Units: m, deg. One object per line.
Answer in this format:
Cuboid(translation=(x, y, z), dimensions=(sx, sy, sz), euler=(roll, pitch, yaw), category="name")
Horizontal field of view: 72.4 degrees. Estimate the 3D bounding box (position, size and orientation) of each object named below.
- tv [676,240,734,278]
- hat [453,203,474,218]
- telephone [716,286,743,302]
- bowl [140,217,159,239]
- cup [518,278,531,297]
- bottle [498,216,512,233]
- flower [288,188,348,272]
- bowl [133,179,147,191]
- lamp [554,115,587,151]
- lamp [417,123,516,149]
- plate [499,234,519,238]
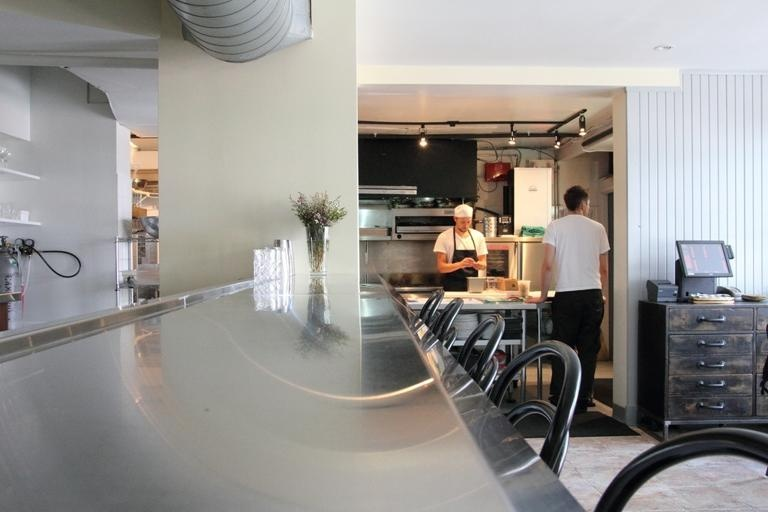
Cuboid(translation=(2.721, 0.023, 4.459), dimensions=(0.454, 0.301, 0.133), euler=(1, 10, -3), category="tv")
Cuboid(translation=(0.890, -0.503, 5.925), dimensions=(0.188, 0.132, 0.194), euler=(1, -1, 1), category="hat")
Cuboid(translation=(2.993, 0.314, 4.563), dimensions=(0.178, 0.075, 0.339), euler=(4, 11, 15), category="telephone")
Cuboid(translation=(-2.723, -0.347, 6.140), dimensions=(0.145, 0.236, 0.509), euler=(-8, 14, -42), category="bowl")
Cuboid(translation=(1.396, 0.312, 5.120), dimensions=(0.146, 0.163, 0.143), euler=(0, -4, 0), category="cup")
Cuboid(translation=(1.656, -0.438, 7.237), dimensions=(0.235, 0.246, 0.161), euler=(7, 11, 28), category="bottle")
Cuboid(translation=(-0.463, -0.193, 3.966), dimensions=(0.546, 0.718, 0.521), euler=(0, -1, -7), category="flower")
Cuboid(translation=(-3.529, -1.041, 7.568), dimensions=(0.137, 0.156, 0.347), euler=(0, 10, -7), category="bowl")
Cuboid(translation=(2.357, -1.581, 6.653), dimensions=(0.370, 0.371, 1.716), euler=(4, 11, 17), category="lamp")
Cuboid(translation=(1.080, -1.585, 6.938), dimensions=(1.274, 0.304, 1.214), euler=(2, 10, 5), category="lamp")
Cuboid(translation=(1.669, -0.285, 7.065), dimensions=(0.238, 0.031, 0.318), euler=(3, 10, 6), category="plate")
